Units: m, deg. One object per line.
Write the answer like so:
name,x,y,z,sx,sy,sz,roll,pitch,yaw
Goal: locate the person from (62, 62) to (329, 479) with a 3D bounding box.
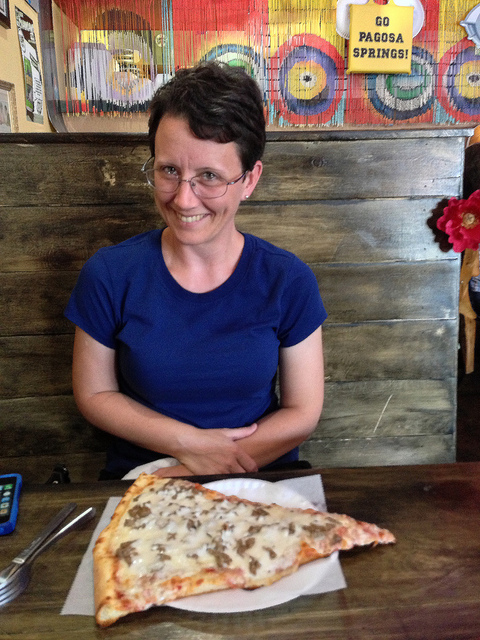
person,-0.102,-0.090,1.185,0.571,0.886,0.319,2,12,7
